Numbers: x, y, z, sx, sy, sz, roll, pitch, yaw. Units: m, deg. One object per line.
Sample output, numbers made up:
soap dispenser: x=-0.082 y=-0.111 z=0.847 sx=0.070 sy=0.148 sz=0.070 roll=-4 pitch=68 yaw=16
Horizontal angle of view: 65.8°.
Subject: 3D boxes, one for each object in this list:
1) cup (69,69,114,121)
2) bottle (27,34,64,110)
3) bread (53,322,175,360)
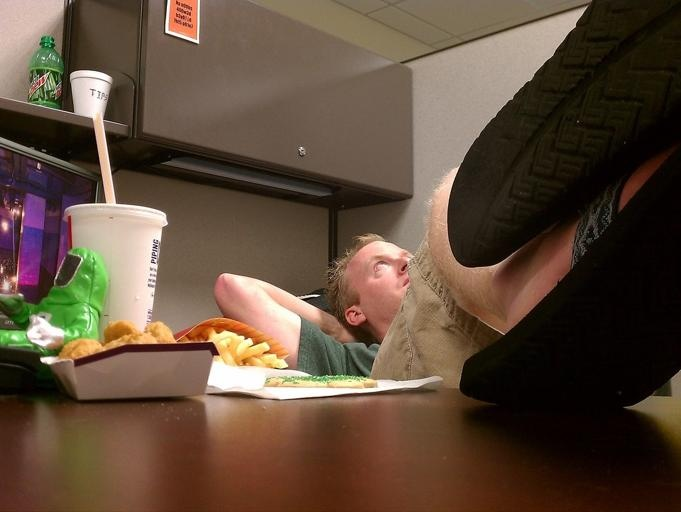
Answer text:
cup: x=-0.562 y=-0.358 z=1.180 sx=0.078 sy=0.115 sz=0.089 roll=4 pitch=-6 yaw=-39
bottle: x=-0.680 y=-0.421 z=1.238 sx=0.072 sy=0.220 sz=0.096 roll=1 pitch=4 yaw=-29
bread: x=-0.184 y=0.068 z=0.440 sx=0.080 sy=0.028 sz=0.135 roll=2 pitch=-6 yaw=-13
